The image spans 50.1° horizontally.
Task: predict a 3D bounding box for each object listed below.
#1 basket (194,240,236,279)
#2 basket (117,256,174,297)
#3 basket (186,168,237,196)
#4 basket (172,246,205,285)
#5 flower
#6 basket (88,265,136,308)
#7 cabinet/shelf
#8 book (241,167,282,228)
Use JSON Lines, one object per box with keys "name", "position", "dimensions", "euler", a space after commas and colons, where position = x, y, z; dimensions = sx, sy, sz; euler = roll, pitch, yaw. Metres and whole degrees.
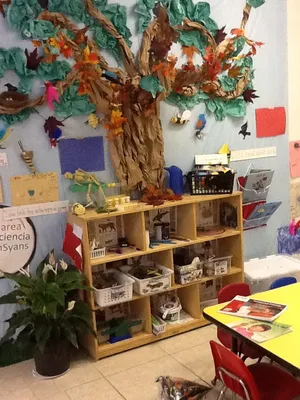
{"name": "basket", "position": [0.535, 0.523, 2.835], "dimensions": [0.230, 0.135, 0.332], "euler": [-7, 10, -20]}
{"name": "basket", "position": [-0.052, 0.576, 2.520], "dimensions": [0.244, 0.107, 0.312], "euler": [-8, 13, -34]}
{"name": "basket", "position": [0.521, -0.153, 2.617], "dimensions": [0.322, 0.144, 0.211], "euler": [-1, 0, 0]}
{"name": "basket", "position": [0.323, 0.540, 2.702], "dimensions": [0.194, 0.273, 0.294], "euler": [-2, 0, -24]}
{"name": "flower", "position": [-0.669, 0.643, 2.078], "dimensions": [0.594, 0.579, 0.623], "euler": [-4, 0, -3]}
{"name": "basket", "position": [-0.282, 0.634, 2.374], "dimensions": [0.234, 0.113, 0.326], "euler": [-1, -1, -25]}
{"name": "cabinet/shelf", "position": [-0.006, 0.585, 2.381], "dimensions": [1.129, 0.851, 0.312], "euler": [-9, 17, -24]}
{"name": "book", "position": [1.082, -0.044, 3.158], "dimensions": [0.538, 0.566, 0.179], "euler": [-16, 23, -36]}
